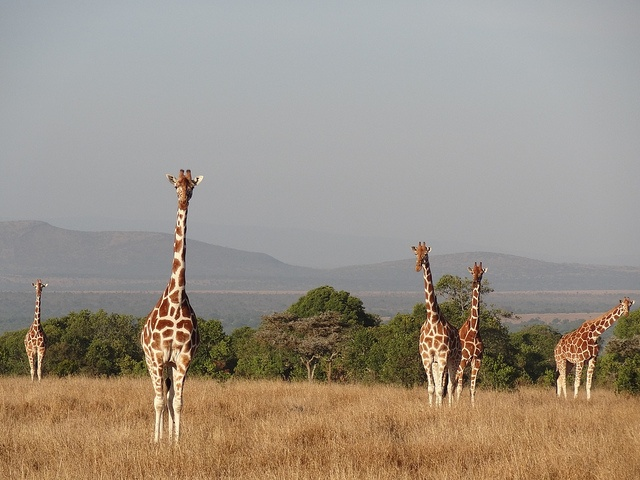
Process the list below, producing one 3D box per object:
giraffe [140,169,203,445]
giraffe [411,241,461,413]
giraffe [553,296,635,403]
[{"bbox_3d":[-5.438,2.438,41.911,1.879,9.987,1.009,0,-1,-8],"label":"giraffe"},{"bbox_3d":[4.898,3.514,46.932,1.246,6.650,2.550,-1,-2,42],"label":"giraffe"},{"bbox_3d":[12.244,4.941,51.947,2.428,5.842,2.637,-2,-2,8],"label":"giraffe"}]
